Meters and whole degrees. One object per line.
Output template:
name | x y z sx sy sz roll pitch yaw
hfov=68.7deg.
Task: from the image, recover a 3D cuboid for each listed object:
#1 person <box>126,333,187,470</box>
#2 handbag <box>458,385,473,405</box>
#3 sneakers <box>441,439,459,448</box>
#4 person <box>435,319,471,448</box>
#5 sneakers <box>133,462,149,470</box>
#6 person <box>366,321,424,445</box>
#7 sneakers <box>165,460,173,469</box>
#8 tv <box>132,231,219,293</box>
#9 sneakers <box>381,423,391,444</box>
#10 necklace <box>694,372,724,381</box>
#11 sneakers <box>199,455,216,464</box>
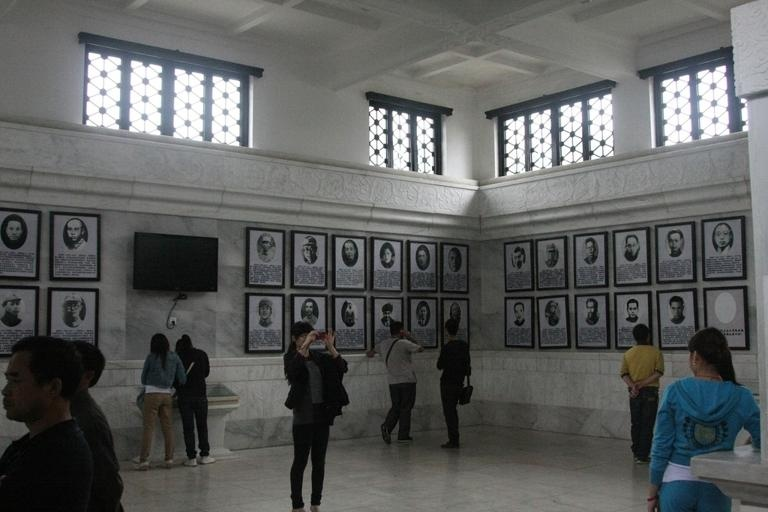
person | -3.796 2.469 9.600 0.736 2.227 0.562 3 -7 -19
handbag | 1.638 2.791 11.348 0.242 0.372 0.369 0 -7 2
sneakers | 1.326 3.744 11.204 0.417 0.178 0.149 0 -4 14
person | 1.473 2.632 11.925 0.644 2.533 1.538 0 -7 5
sneakers | -4.068 3.512 9.460 0.234 0.127 0.216 3 -8 -23
person | 0.317 2.682 12.052 0.901 2.507 0.484 1 -7 -1
sneakers | -3.665 3.536 9.560 0.079 0.161 0.169 3 3 -42
tv | -3.935 0.128 10.698 1.505 1.044 0.095 5 -8 -31
sneakers | 0.046 3.728 11.886 0.166 0.440 0.178 -6 -8 -2
necklace | 2.241 0.829 3.898 0.092 0.069 0.117 10 -16 -33
sneakers | -3.110 3.592 9.941 0.114 0.113 0.272 2 0 37
